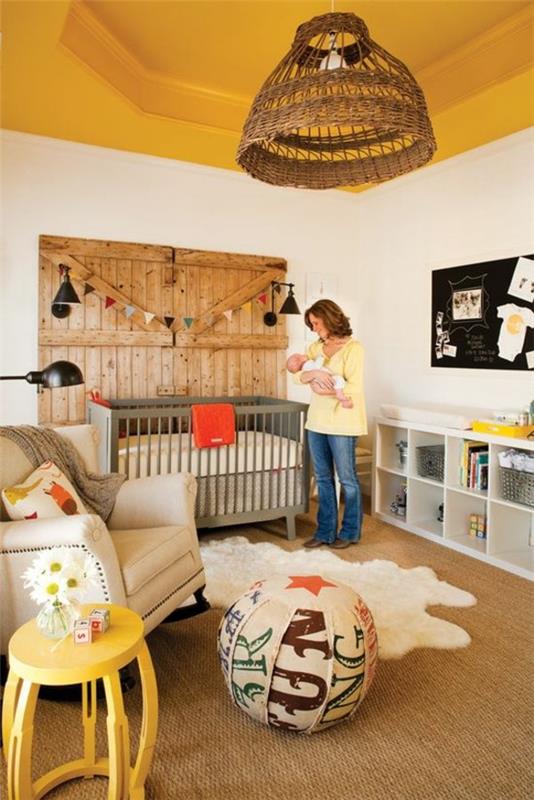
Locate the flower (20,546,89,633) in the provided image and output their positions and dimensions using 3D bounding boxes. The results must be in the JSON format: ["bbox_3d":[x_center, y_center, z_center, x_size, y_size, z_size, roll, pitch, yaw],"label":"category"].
[{"bbox_3d":[-0.483,0.443,1.377,0.186,0.201,0.183,4,-13,-23],"label":"flower"}]

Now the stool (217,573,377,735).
[{"bbox_3d":[0.102,0.650,1.624,0.403,0.317,0.415,0,2,32],"label":"stool"}]

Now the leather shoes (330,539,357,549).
[{"bbox_3d":[0.436,0.814,3.205,0.144,0.060,0.053,10,-10,-33],"label":"leather shoes"}]

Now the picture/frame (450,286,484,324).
[{"bbox_3d":[1.256,-0.596,3.581,0.008,0.201,0.255,-2,5,-24],"label":"picture/frame"}]

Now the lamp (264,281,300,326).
[{"bbox_3d":[0.137,-0.716,4.223,0.292,0.344,0.256,-2,5,-23],"label":"lamp"}]

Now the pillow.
[{"bbox_3d":[-0.769,0.333,1.953,0.219,0.182,0.319,0,5,-6],"label":"pillow"}]

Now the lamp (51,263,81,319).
[{"bbox_3d":[-1.172,-0.670,3.330,0.152,0.244,0.135,-7,-7,38],"label":"lamp"}]

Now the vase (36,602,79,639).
[{"bbox_3d":[-0.462,0.491,1.262,0.078,0.075,0.080,1,-4,15],"label":"vase"}]

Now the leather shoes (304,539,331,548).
[{"bbox_3d":[0.278,0.809,3.218,0.124,0.051,0.055,8,-10,-17],"label":"leather shoes"}]

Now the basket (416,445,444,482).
[{"bbox_3d":[0.970,0.388,3.418,0.138,0.139,0.190,1,-3,-26],"label":"basket"}]
